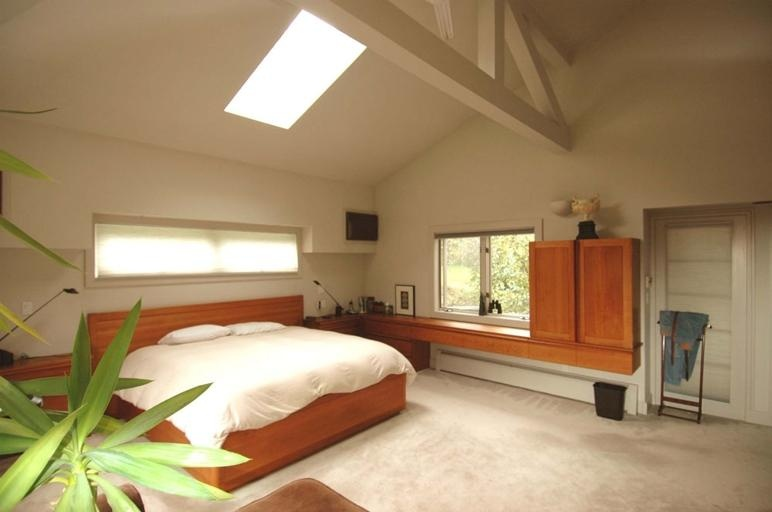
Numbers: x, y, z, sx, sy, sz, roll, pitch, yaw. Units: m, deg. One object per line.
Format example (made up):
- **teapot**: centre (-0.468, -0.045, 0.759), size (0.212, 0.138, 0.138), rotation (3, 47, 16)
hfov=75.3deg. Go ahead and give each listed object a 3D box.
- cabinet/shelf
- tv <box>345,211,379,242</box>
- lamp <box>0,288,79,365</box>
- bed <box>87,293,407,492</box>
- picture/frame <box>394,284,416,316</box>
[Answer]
- **cabinet/shelf**: centre (2.330, 0.439, 5.724), size (1.293, 1.391, 0.489), rotation (0, 0, 37)
- **tv**: centre (-0.395, -0.457, 7.784), size (0.490, 0.349, 0.066), rotation (3, -3, -45)
- **lamp**: centre (-3.714, 0.744, 5.365), size (0.674, 0.819, 0.370), rotation (4, -5, -33)
- **bed**: centre (-1.551, 1.614, 5.638), size (2.102, 1.148, 2.310), rotation (-1, 0, 45)
- **picture/frame**: centre (0.297, 0.671, 7.653), size (0.044, 0.587, 0.469), rotation (4, -4, -41)
